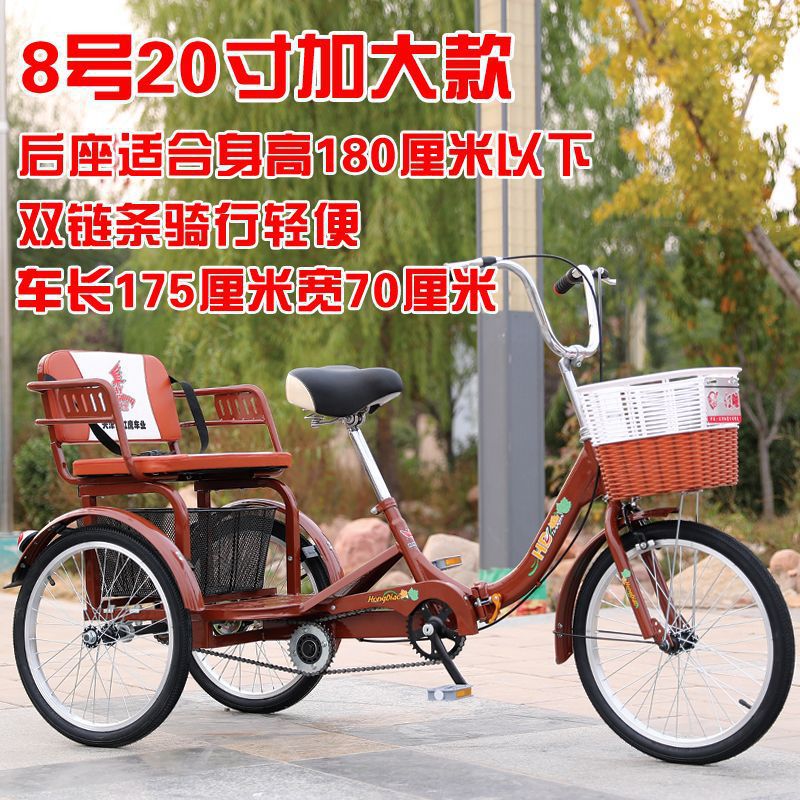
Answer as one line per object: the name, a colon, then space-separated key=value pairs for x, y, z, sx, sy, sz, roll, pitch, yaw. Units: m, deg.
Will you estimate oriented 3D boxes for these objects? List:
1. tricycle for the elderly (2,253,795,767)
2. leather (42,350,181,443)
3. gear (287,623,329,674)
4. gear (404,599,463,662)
tricycle for the elderly: x=-0.024 y=0.379 z=5.186 sx=2.753 sy=1.821 sz=1.369 roll=-3 pitch=-3 yaw=23
leather: x=-0.955 y=-0.021 z=5.149 sx=0.379 sy=0.374 sz=0.088 roll=2 pitch=-14 yaw=-44
gear: x=-0.289 y=0.812 z=4.668 sx=0.119 sy=0.125 sz=0.018 roll=39 pitch=22 yaw=29
gear: x=0.109 y=0.742 z=4.557 sx=0.112 sy=0.212 sz=0.157 roll=-5 pitch=4 yaw=-44
